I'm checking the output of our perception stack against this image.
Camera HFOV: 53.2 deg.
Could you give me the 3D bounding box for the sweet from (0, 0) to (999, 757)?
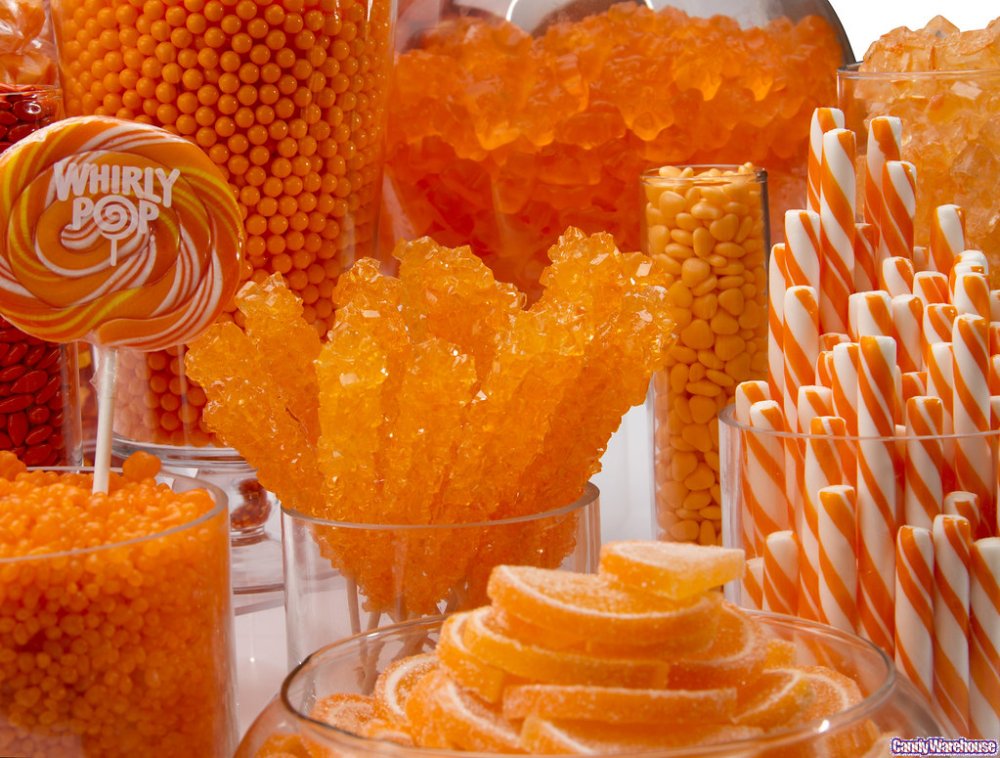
[{"bbox_3d":[-0.040,-0.117,1.181,0.933,0.305,0.693,-1,0,-40],"label":"sweet"}]
